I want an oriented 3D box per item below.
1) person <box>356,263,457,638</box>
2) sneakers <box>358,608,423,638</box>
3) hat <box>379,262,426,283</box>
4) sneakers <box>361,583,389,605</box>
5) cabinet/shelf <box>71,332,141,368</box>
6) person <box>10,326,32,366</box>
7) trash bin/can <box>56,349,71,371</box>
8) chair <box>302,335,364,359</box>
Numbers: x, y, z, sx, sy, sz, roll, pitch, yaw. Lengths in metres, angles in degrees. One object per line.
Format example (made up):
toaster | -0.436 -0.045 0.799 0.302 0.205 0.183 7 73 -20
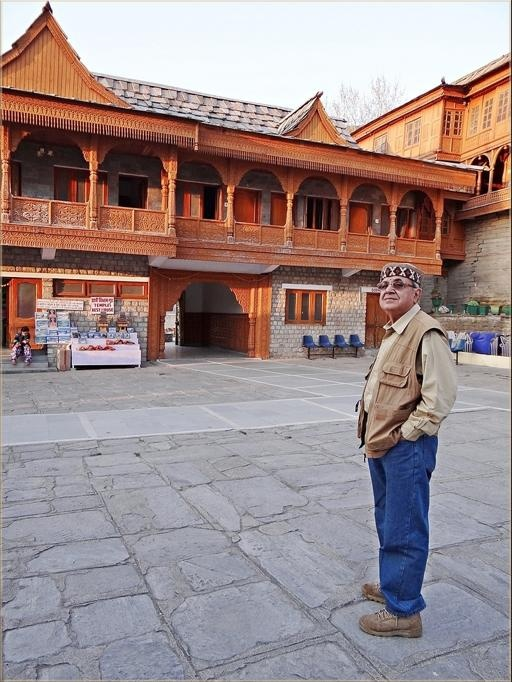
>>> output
person | 0.740 0.501 2.805 0.402 1.767 0.445 2 4 19
sneakers | 0.641 1.335 2.758 0.280 0.135 0.119 4 -8 6
hat | 0.763 -0.341 2.940 0.149 0.055 0.134 10 -4 -41
sneakers | 0.622 1.318 3.005 0.060 0.067 0.137 4 13 -19
cabinet/shelf | -3.822 0.249 15.007 1.710 0.880 0.991 0 4 -17
person | -5.794 0.115 14.495 0.443 0.950 0.786 0 4 -21
trash bin/can | -4.643 0.456 14.217 0.296 0.525 0.302 0 4 -17
chair | 2.673 0.180 19.677 2.326 0.798 0.652 -1 4 -31
